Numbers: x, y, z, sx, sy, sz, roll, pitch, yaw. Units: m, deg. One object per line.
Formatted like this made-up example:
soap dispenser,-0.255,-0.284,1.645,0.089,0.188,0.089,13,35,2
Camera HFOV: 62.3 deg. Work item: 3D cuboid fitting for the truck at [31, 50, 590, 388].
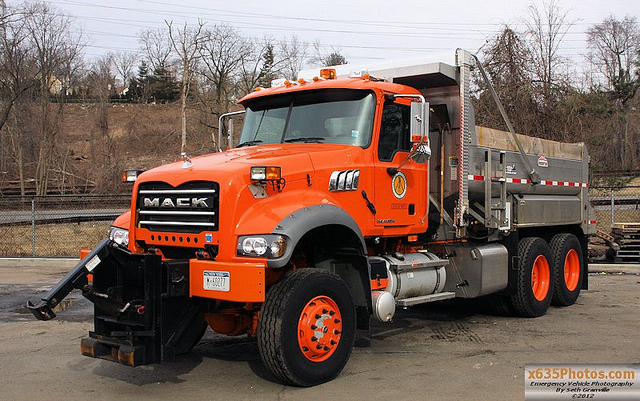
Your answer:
truck,1.404,0.062,11.584,11.555,4.827,5.045,1,-4,-44

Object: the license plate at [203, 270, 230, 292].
license plate,-1.492,1.147,7.632,0.314,0.205,0.032,0,-4,31

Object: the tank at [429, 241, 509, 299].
tank,3.208,1.407,11.143,1.059,0.999,1.495,0,-4,40

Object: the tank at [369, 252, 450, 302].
tank,1.616,1.428,10.081,1.588,0.918,1.038,-1,9,-39

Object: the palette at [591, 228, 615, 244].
palette,9.607,1.195,17.853,0.699,0.171,0.627,25,10,-7
